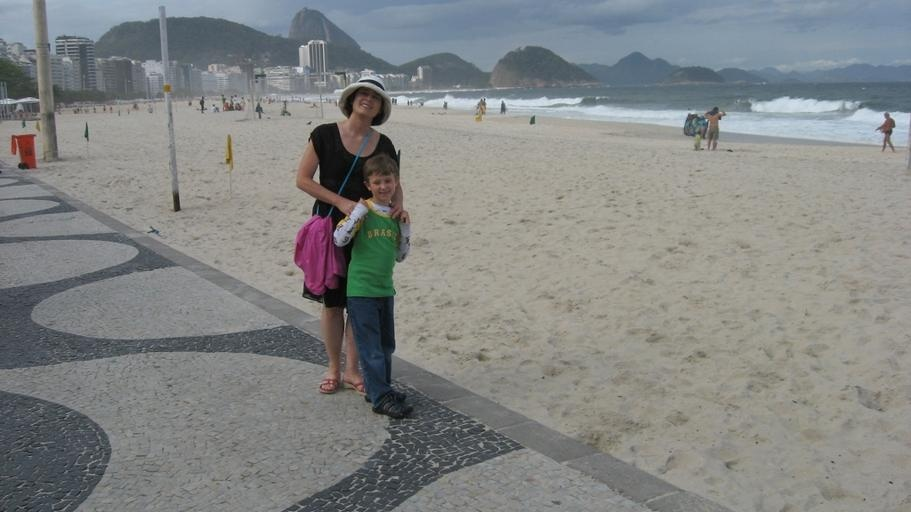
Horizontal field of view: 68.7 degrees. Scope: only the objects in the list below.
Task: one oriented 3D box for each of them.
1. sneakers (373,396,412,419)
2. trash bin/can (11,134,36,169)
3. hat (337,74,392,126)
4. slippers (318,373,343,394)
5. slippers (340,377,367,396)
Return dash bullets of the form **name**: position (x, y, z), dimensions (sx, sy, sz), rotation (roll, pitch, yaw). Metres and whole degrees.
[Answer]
- **sneakers**: position (-0.608, 1.464, 6.522), dimensions (0.387, 0.142, 0.188), rotation (3, 16, 13)
- **trash bin/can**: position (-11.501, -2.779, 17.844), dimensions (0.446, 0.921, 0.823), rotation (-8, 20, -28)
- **hat**: position (-0.916, -1.538, 6.647), dimensions (0.481, 0.540, 0.648), rotation (-1, 17, -9)
- **slippers**: position (-1.279, 1.309, 6.805), dimensions (0.230, 0.117, 0.480), rotation (-1, -2, -3)
- **slippers**: position (-1.042, 1.336, 6.791), dimensions (0.279, 0.071, 0.139), rotation (7, 7, 45)
